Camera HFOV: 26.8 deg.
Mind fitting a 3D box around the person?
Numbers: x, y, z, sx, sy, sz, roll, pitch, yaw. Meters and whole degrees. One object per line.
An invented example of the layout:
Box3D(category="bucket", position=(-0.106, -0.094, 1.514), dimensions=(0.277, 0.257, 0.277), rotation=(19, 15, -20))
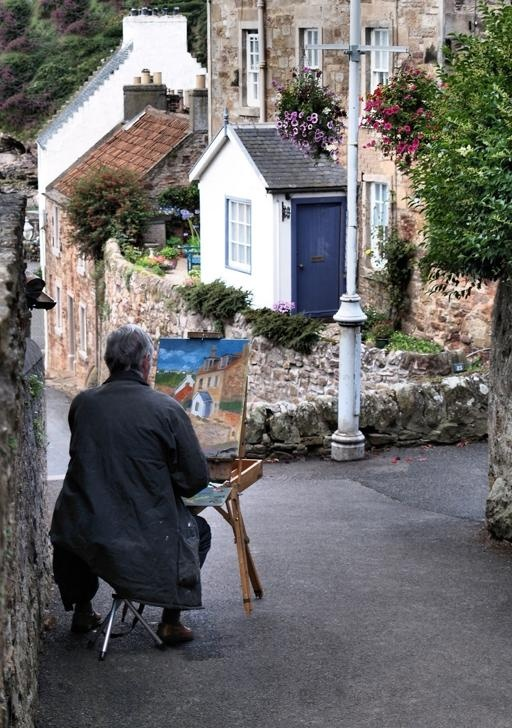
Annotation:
Box3D(category="person", position=(-0.617, 0.613, 5.227), dimensions=(0.780, 1.598, 0.585), rotation=(1, 4, 10))

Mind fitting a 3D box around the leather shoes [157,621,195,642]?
Box3D(category="leather shoes", position=(-0.409, 1.351, 5.480), dimensions=(0.185, 0.094, 0.081), rotation=(-2, 8, -35))

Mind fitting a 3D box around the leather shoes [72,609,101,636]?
Box3D(category="leather shoes", position=(-0.877, 1.315, 5.611), dimensions=(0.077, 0.143, 0.197), rotation=(7, 12, 28))

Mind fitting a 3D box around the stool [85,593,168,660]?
Box3D(category="stool", position=(-0.661, 1.330, 5.533), dimensions=(0.332, 0.503, 0.359), rotation=(3, -4, 14))
